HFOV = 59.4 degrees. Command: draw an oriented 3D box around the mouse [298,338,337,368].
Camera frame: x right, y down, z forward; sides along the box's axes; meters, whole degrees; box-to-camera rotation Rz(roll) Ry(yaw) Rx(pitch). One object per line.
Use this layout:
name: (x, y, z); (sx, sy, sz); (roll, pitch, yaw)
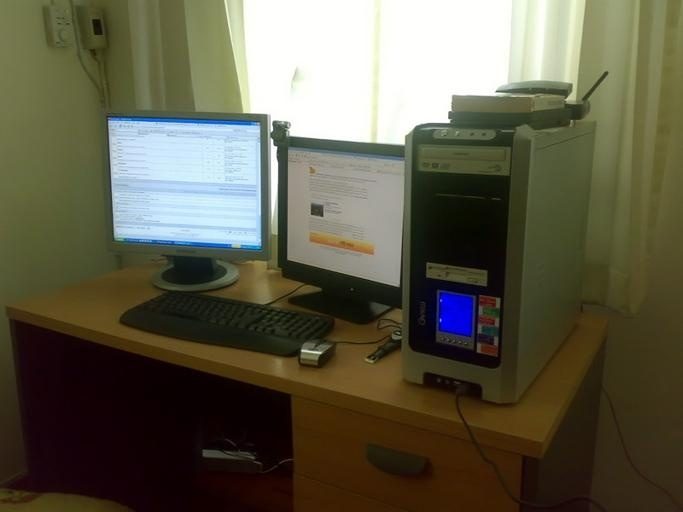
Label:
mouse: (-0.062, 0.243, 1.519); (0.067, 0.045, 0.087); (8, 22, 24)

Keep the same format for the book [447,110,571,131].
book: (0.358, -0.301, 1.316); (0.116, 0.026, 0.132); (10, 23, 27)

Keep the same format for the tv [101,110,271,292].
tv: (-0.491, -0.186, 1.972); (0.550, 0.544, 0.242); (3, 12, 6)

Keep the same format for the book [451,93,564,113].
book: (0.392, -0.355, 1.374); (0.153, 0.042, 0.277); (17, 27, 40)

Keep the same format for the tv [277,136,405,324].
tv: (0.007, -0.079, 1.739); (0.475, 0.525, 0.186); (8, 13, 32)
